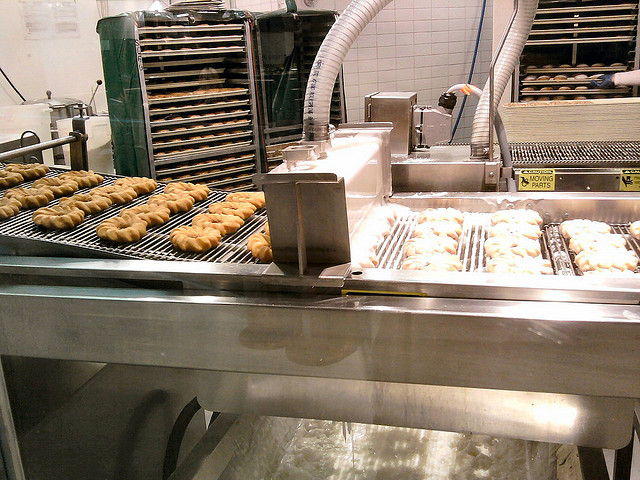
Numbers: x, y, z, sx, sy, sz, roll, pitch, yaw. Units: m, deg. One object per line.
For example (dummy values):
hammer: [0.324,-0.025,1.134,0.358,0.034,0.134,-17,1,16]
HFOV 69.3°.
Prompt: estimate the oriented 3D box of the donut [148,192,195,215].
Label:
donut: [-0.581,-0.151,1.796,0.116,0.039,0.112,6,18,15]

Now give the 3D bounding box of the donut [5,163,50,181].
donut: [-1.294,-0.311,2.076,0.125,0.039,0.120,8,11,3]

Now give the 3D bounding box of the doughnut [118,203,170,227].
doughnut: [-0.622,-0.108,1.676,0.110,0.032,0.109,12,21,30]

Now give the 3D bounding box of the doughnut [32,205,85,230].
doughnut: [-0.894,-0.078,1.593,0.114,0.037,0.114,16,18,30]

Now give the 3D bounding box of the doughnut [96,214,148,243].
doughnut: [-0.660,-0.039,1.531,0.113,0.030,0.106,19,28,36]

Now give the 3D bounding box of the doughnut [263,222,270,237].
doughnut: [-0.180,-0.037,1.550,0.043,0.017,0.053,-12,1,-11]

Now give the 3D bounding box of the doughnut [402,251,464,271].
doughnut: [0.345,0.066,1.378,0.097,0.021,0.093,-2,10,-3]

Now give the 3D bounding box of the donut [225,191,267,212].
donut: [-0.288,-0.165,1.823,0.157,0.048,0.150,-5,15,-18]

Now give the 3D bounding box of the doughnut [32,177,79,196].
doughnut: [-1.091,-0.228,1.917,0.122,0.035,0.116,5,13,-9]

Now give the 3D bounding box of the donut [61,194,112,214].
donut: [-0.877,-0.142,1.745,0.108,0.031,0.105,10,11,16]

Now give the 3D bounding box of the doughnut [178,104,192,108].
doughnut: [-1.057,-1.052,3.640,0.037,0.022,0.125,16,27,36]

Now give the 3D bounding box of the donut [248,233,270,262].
donut: [-0.180,0.017,1.402,0.082,0.026,0.077,-5,29,-14]

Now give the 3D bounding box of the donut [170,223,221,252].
donut: [-0.408,-0.010,1.473,0.109,0.038,0.106,9,17,16]

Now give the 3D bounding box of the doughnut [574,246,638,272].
doughnut: [0.867,0.066,1.371,0.175,0.050,0.123,-4,22,-9]

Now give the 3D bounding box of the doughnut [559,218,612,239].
doughnut: [0.899,-0.044,1.594,0.100,0.022,0.097,-15,15,-23]

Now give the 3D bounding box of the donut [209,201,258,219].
donut: [-0.315,-0.114,1.717,0.100,0.029,0.097,-4,14,-34]

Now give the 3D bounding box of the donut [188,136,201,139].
donut: [-1.010,-0.824,3.720,0.093,0.019,0.100,-4,22,-10]

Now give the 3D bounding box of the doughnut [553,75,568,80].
doughnut: [2.107,-1.408,4.025,0.071,0.021,0.066,-12,23,-1]
